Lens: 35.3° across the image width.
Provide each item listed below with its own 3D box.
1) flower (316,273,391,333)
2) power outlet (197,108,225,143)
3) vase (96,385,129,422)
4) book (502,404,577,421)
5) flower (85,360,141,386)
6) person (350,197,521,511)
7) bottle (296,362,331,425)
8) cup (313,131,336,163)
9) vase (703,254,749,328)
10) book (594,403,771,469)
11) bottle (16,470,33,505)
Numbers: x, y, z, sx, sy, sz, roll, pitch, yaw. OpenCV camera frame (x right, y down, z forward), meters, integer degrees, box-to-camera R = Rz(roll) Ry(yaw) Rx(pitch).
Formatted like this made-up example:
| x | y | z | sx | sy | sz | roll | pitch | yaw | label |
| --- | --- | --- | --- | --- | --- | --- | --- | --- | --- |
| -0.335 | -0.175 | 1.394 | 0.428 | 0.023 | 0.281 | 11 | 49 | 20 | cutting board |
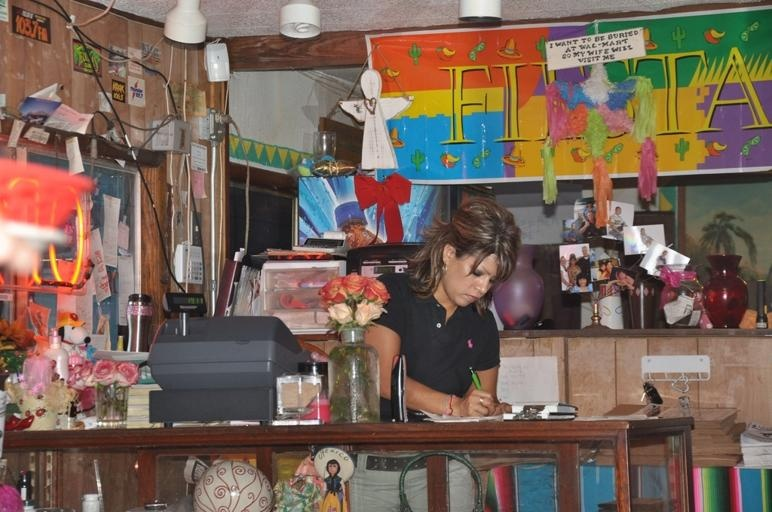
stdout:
| x | y | z | sx | sy | sz | roll | pitch | yaw | label |
| --- | --- | --- | --- | --- | --- | --- | --- | --- | --- |
| -0.142 | 0.199 | 5.560 | 0.266 | 0.286 | 0.280 | 3 | 9 | 14 | flower |
| -1.080 | -0.800 | 7.473 | 0.201 | 0.151 | 0.065 | -2 | 4 | -37 | power outlet |
| -1.287 | 0.688 | 5.741 | 0.157 | 0.198 | 0.163 | 2 | 2 | 24 | vase |
| 0.681 | 0.693 | 5.374 | 0.317 | 0.074 | 0.184 | -3 | -9 | 11 | book |
| -1.292 | 0.552 | 5.761 | 0.147 | 0.057 | 0.150 | 4 | 20 | 5 | flower |
| 0.277 | 0.441 | 5.876 | 0.777 | 1.514 | 1.049 | -2 | -8 | 5 | person |
| -0.333 | 0.629 | 5.602 | 0.140 | 0.286 | 0.290 | 0 | -8 | -5 | bottle |
| -0.391 | -0.692 | 7.774 | 0.133 | 0.211 | 0.219 | 0 | -8 | -4 | cup |
| 1.929 | 0.211 | 6.894 | 0.239 | 0.421 | 0.191 | -3 | -8 | 14 | vase |
| 1.549 | 0.928 | 6.328 | 0.667 | 0.353 | 1.353 | -5 | -10 | 27 | book |
| -1.643 | 1.064 | 5.528 | 0.075 | 0.165 | 0.031 | 2 | -8 | -17 | bottle |
